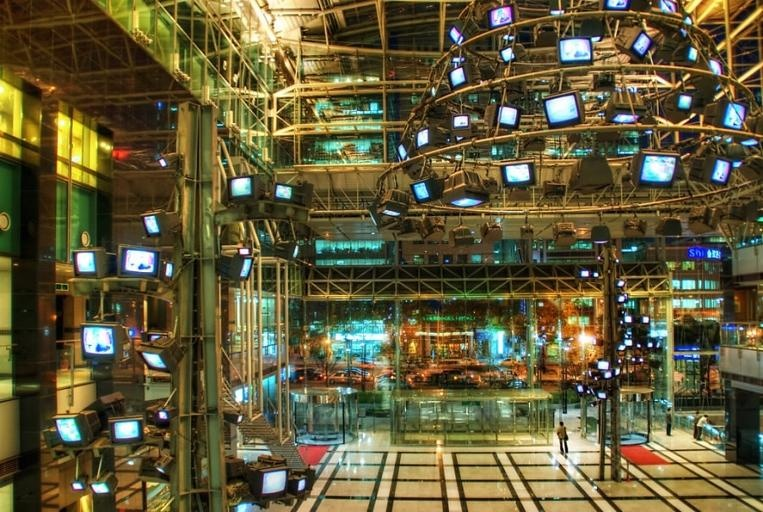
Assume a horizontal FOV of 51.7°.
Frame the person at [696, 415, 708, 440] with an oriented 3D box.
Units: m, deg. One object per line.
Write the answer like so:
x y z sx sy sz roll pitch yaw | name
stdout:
16.624 8.869 41.011 0.402 1.190 0.761 5 9 40 | person
